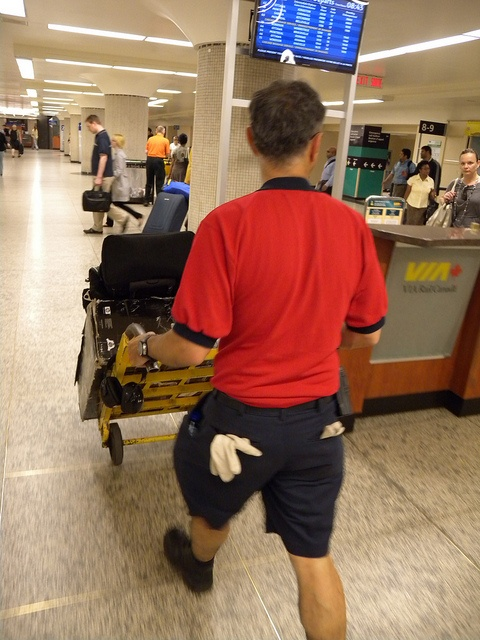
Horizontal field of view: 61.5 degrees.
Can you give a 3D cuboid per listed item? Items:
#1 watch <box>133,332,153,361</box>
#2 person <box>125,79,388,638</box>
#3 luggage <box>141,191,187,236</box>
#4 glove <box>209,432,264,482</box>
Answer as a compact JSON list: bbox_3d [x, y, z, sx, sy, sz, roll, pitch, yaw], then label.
[{"bbox_3d":[-0.243,0.062,0.957,0.065,0.078,0.042,0,-4,-41],"label":"watch"},{"bbox_3d":[0.094,0.088,0.809,0.498,1.009,0.348,-1,10,-23],"label":"person"},{"bbox_3d":[-0.721,-0.995,3.613,0.229,0.417,0.157,7,42,-35],"label":"luggage"},{"bbox_3d":[-0.022,0.250,0.752,0.089,0.088,0.034,-20,2,9],"label":"glove"}]
